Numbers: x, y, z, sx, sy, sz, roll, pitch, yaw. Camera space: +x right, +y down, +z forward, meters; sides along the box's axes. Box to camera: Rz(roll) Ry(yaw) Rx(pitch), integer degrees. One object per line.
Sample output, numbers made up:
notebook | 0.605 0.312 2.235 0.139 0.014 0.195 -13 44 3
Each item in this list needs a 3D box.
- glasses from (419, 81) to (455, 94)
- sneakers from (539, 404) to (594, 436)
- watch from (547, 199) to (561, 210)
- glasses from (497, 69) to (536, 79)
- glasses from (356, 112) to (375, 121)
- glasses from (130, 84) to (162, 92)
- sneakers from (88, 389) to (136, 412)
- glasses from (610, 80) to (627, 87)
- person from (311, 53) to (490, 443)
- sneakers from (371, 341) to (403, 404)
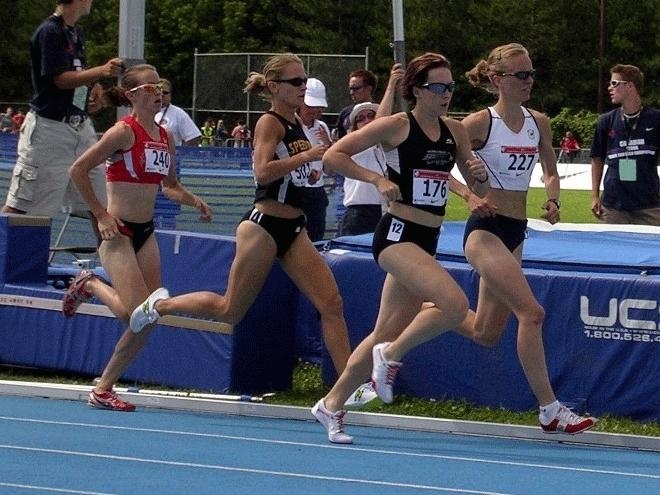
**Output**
glasses | 0.674 -0.975 5.047 0.226 0.085 0.142 2 10 -9
sneakers | 1.486 1.094 5.205 0.413 0.193 0.150 -3 7 12
watch | 1.478 -0.285 5.381 0.079 0.041 0.058 35 -25 14
glasses | 1.226 -1.124 5.373 0.262 0.069 0.156 3 10 -4
glasses | 0.335 -1.188 7.495 0.110 0.030 0.101 -18 1 -2
glasses | -1.301 -1.129 5.842 0.107 0.034 0.107 -1 3 12
sneakers | -1.588 1.120 5.997 0.362 0.163 0.136 8 -6 -3
glasses | 2.805 -1.593 8.014 0.109 0.037 0.108 5 -1 0
person | 0.447 0.035 5.143 0.944 2.459 0.606 5 10 10
sneakers | 0.373 0.761 5.178 0.187 0.420 0.144 -13 -7 26
